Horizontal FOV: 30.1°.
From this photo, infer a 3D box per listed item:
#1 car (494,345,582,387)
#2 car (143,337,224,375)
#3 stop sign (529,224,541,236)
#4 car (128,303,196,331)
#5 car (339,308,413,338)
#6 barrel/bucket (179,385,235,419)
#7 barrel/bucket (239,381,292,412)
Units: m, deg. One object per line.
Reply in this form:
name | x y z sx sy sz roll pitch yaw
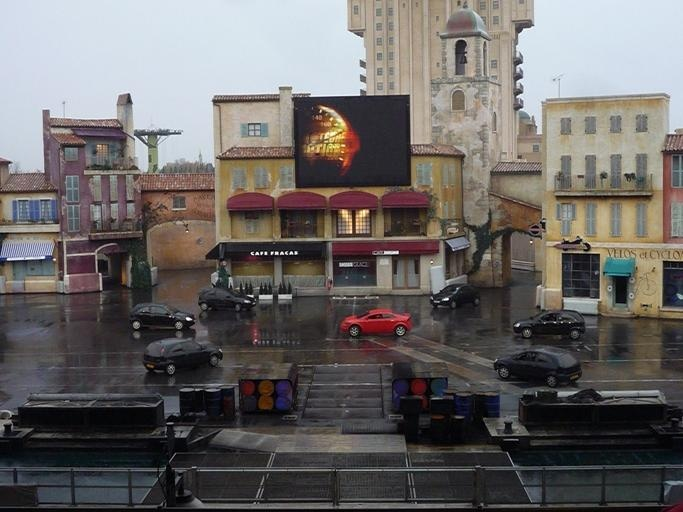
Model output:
car | 11.161 6.069 71.658 4.218 1.632 2.194 4 7 21
car | -9.377 5.669 74.909 2.394 1.594 4.659 4 8 44
stop sign | 13.976 -2.010 92.123 0.866 0.526 1.035 -2 4 -14
car | -12.099 4.033 84.123 3.489 1.794 3.565 0 1 43
car | 2.104 4.226 82.059 3.989 1.122 1.871 1 3 -1
barrel/bucket | -7.127 7.664 66.883 2.781 1.579 0.843 -1 3 -12
barrel/bucket | -4.100 7.360 67.961 2.172 1.022 2.001 0 -3 0
